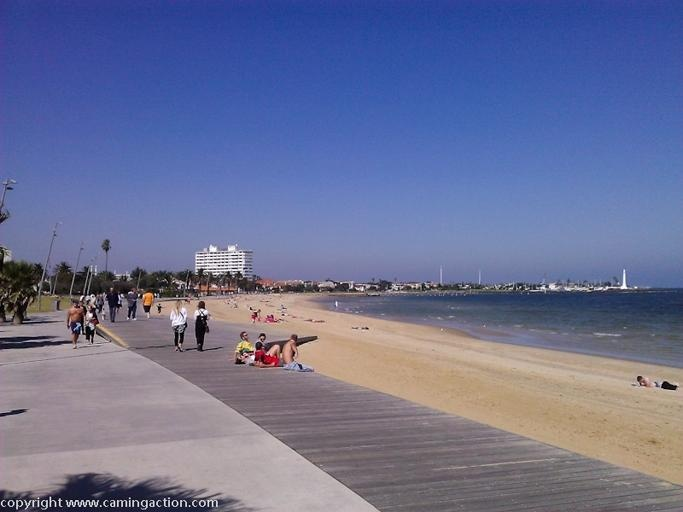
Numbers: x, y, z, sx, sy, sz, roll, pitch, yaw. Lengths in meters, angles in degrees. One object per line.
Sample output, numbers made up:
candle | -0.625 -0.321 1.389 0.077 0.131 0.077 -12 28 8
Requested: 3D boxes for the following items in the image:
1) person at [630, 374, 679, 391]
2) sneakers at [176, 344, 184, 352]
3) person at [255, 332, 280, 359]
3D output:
person | 11.706 4.826 18.766 1.208 0.367 0.770 -8 -12 34
sneakers | -5.125 2.910 16.002 0.161 0.125 0.402 16 27 -12
person | -2.390 2.907 16.176 0.610 0.448 1.056 -16 -24 -6
